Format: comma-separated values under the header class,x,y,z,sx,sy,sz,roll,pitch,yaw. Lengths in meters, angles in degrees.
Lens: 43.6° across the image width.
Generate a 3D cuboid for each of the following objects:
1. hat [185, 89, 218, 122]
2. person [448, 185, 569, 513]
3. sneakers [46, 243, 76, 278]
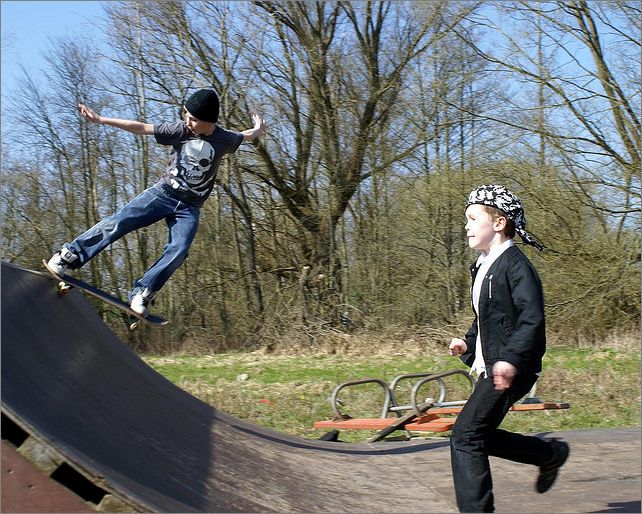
class,x,y,z,sx,sy,sz,roll,pitch,yaw
hat,-1.082,-1.404,7.366,0.300,0.333,0.291,1,-2,-17
person,1.337,0.652,5.982,0.690,2.367,0.598,0,-2,12
sneakers,-2.214,0.034,6.824,0.216,0.266,0.266,0,-2,3
